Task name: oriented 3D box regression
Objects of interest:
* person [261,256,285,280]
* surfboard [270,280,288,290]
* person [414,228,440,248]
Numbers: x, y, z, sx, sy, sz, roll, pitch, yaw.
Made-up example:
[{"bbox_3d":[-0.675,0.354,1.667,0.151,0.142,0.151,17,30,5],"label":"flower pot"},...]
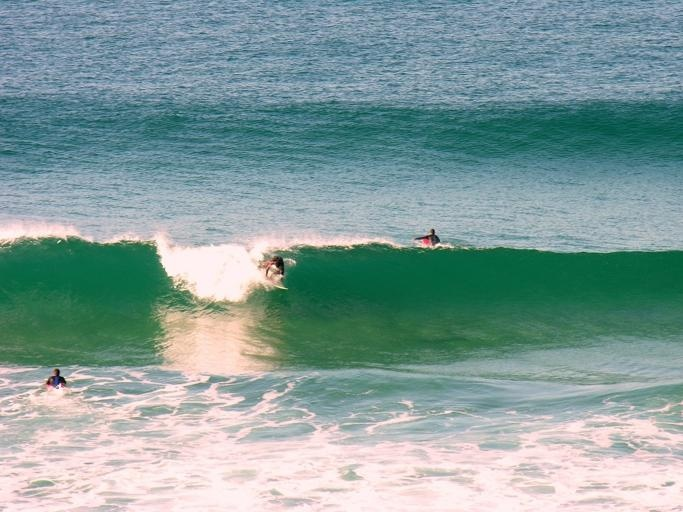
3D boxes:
[{"bbox_3d":[-1.999,0.290,31.668,0.702,0.693,1.003,3,5,-3],"label":"person"},{"bbox_3d":[-1.823,0.797,31.572,0.438,0.233,0.212,1,6,-15],"label":"surfboard"},{"bbox_3d":[2.543,-0.550,33.412,1.196,0.631,0.193,-1,21,0],"label":"person"}]
